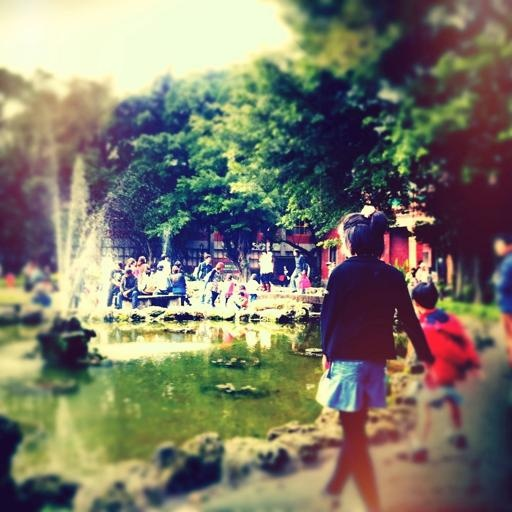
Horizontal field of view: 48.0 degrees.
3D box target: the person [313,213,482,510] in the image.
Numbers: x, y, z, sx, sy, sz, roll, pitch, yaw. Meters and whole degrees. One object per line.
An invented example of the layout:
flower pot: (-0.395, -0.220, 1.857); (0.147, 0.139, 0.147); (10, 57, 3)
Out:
person: (0.842, 0.761, 4.288); (0.762, 2.265, 0.406); (0, 4, 7)
